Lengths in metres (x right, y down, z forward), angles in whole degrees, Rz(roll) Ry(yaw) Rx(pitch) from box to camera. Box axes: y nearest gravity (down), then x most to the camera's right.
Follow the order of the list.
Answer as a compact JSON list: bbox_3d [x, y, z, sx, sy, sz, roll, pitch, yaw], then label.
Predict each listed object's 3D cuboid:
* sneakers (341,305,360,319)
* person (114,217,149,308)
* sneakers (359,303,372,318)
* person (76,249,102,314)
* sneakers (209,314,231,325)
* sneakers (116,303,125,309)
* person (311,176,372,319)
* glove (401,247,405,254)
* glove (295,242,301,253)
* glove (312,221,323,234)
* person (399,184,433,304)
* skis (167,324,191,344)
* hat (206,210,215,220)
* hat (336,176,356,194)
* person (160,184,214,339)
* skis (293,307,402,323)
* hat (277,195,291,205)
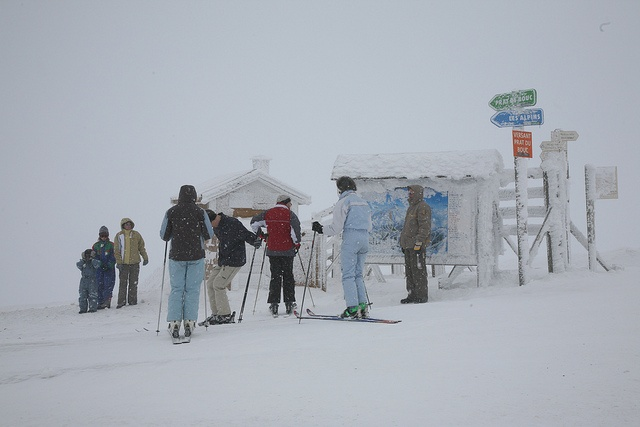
[{"bbox_3d":[0.605,1.808,12.205,0.413,0.309,0.147,2,-2,20],"label":"sneakers"},{"bbox_3d":[-4.740,1.222,16.786,0.749,2.227,0.620,-1,-5,-19],"label":"person"},{"bbox_3d":[0.798,1.784,12.356,0.178,0.268,0.289,0,-20,2],"label":"sneakers"},{"bbox_3d":[-5.594,1.632,16.288,0.486,1.537,0.495,-1,-5,-19],"label":"person"},{"bbox_3d":[-1.883,1.993,12.643,0.482,0.240,0.166,3,-8,-5],"label":"sneakers"},{"bbox_3d":[-4.927,2.281,16.573,0.195,0.098,0.371,-1,-6,-16],"label":"sneakers"},{"bbox_3d":[0.510,0.607,12.372,0.831,2.625,0.367,-2,-5,-1],"label":"person"},{"bbox_3d":[1.737,0.758,14.101,0.086,0.069,0.088,-1,-9,0],"label":"glove"},{"bbox_3d":[-0.466,0.659,13.265,0.139,0.205,0.062,-3,9,-40],"label":"glove"},{"bbox_3d":[-0.057,0.235,12.576,0.169,0.220,0.231,-2,25,-1],"label":"glove"},{"bbox_3d":[1.957,0.606,13.825,0.460,2.447,0.744,1,-6,-31],"label":"person"},{"bbox_3d":[-2.334,2.020,11.118,0.182,0.243,0.535,4,-14,-31],"label":"skis"},{"bbox_3d":[-2.037,-0.018,12.560,0.132,0.184,0.161,-15,-35,-4],"label":"hat"},{"bbox_3d":[0.481,-0.544,12.596,0.259,0.343,0.328,0,4,-7],"label":"hat"},{"bbox_3d":[-2.277,0.784,11.446,0.818,2.599,0.446,-1,-5,-15],"label":"person"},{"bbox_3d":[0.547,1.896,12.510,1.836,0.276,0.168,0,-48,18],"label":"skis"},{"bbox_3d":[-0.708,-0.292,13.339,0.290,0.274,0.227,-9,6,-37],"label":"hat"}]
